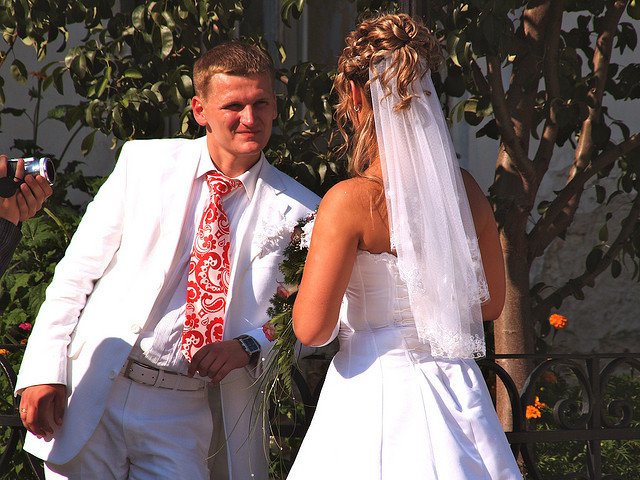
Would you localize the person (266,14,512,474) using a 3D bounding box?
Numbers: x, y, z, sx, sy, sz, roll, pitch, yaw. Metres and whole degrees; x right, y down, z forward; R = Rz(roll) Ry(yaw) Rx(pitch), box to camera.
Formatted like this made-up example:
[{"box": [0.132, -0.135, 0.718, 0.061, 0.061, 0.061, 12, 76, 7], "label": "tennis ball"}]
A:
[{"box": [0.383, 0.015, 4.377, 0.969, 2.076, 0.437, 1, 4, 8], "label": "person"}]

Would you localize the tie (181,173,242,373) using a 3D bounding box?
[{"box": [-0.561, 0.135, 4.801, 0.207, 0.887, 0.264, 1, 4, 10], "label": "tie"}]
